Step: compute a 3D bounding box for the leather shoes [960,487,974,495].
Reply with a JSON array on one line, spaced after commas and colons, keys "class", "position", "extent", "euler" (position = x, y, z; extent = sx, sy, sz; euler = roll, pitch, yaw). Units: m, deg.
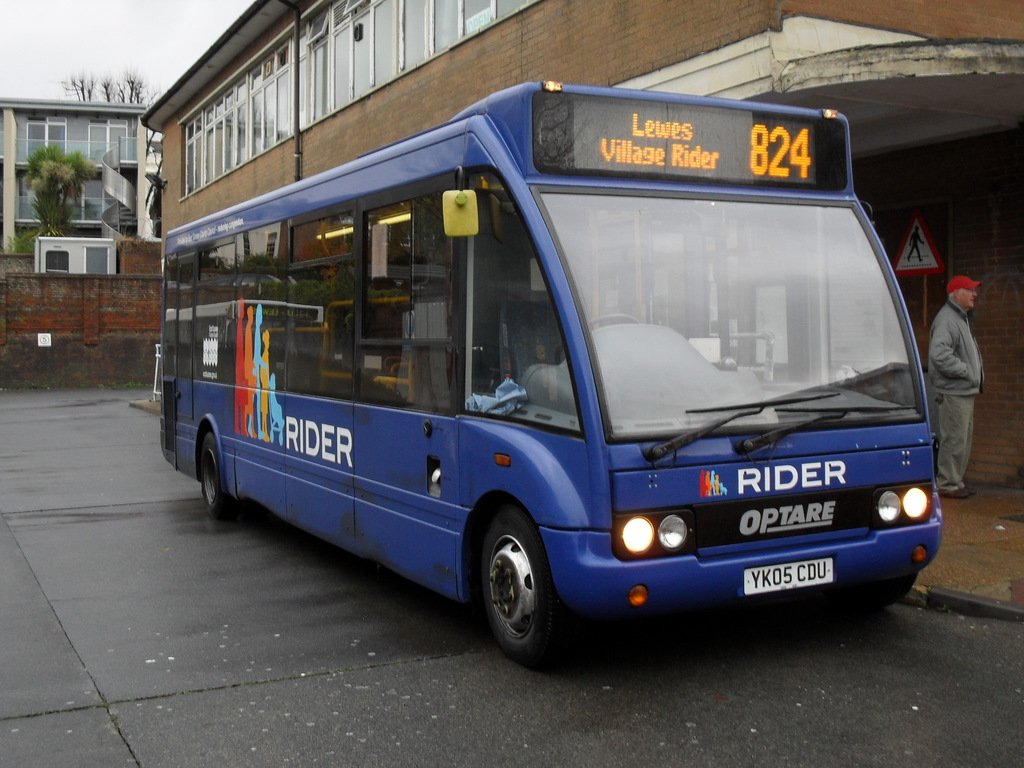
[{"class": "leather shoes", "position": [5.089, 1.178, 9.522], "extent": [0.148, 0.081, 0.060], "euler": [-3, 0, 26]}]

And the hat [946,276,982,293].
[{"class": "hat", "position": [5.040, -1.107, 9.499], "extent": [0.301, 0.203, 0.262], "euler": [-2, 3, -7]}]
